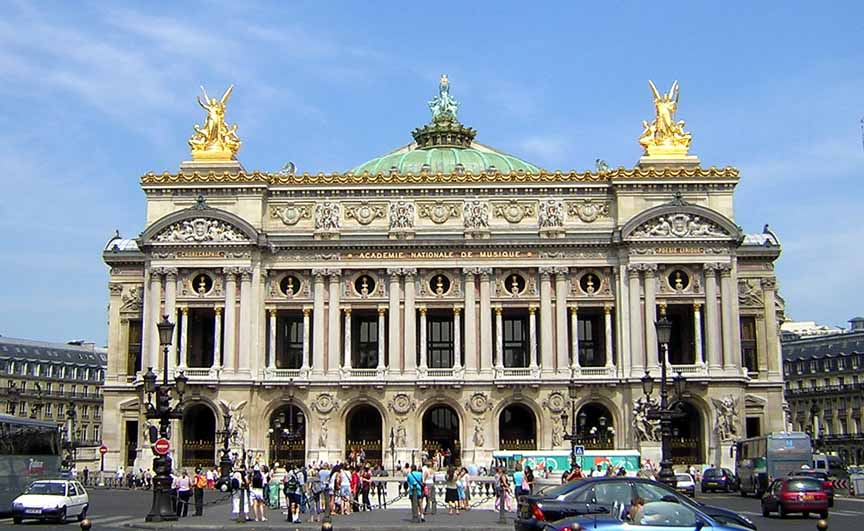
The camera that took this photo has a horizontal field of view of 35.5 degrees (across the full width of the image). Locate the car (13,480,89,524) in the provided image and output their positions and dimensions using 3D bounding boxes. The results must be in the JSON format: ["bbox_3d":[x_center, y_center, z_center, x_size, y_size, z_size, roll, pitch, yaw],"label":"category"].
[{"bbox_3d":[-24.896,15.822,90.424,3.169,1.950,4.405,-1,-22,0],"label":"car"}]

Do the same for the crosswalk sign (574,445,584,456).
[{"bbox_3d":[11.116,14.718,107.430,1.065,0.953,0.514,0,-35,1],"label":"crosswalk sign"}]

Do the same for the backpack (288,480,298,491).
[{"bbox_3d":[-9.525,14.679,90.316,0.711,0.943,0.493,1,-7,-4],"label":"backpack"}]

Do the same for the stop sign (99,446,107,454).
[{"bbox_3d":[-28.767,16.126,118.145,0.736,0.709,0.173,2,-6,-37],"label":"stop sign"}]

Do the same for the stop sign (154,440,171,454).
[{"bbox_3d":[-17.716,11.805,88.499,0.894,1.177,1.096,2,-15,-18],"label":"stop sign"}]
